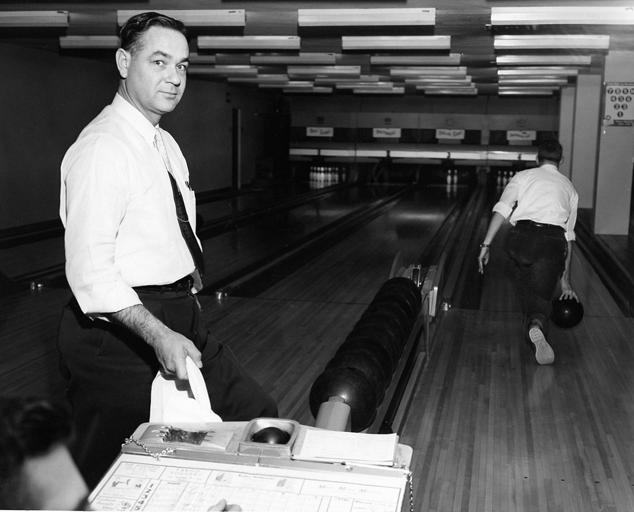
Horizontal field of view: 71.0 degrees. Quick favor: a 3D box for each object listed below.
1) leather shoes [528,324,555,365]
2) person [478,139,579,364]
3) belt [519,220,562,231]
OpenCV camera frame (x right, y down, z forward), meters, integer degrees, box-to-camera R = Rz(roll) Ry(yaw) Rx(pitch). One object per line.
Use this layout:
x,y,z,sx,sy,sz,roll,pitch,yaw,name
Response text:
1.539,0.595,3.096,0.137,0.292,0.082,-16,-12,7,leather shoes
1.540,0.014,3.283,0.563,1.306,0.667,9,15,33,person
1.554,-0.224,3.096,0.284,0.061,0.060,4,13,12,belt
